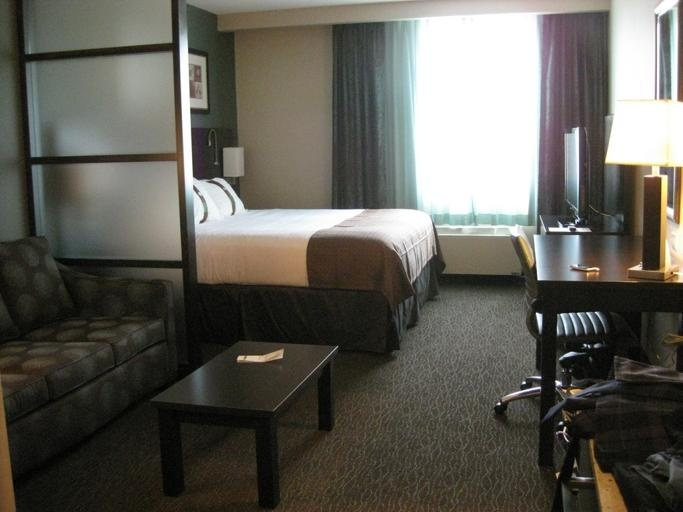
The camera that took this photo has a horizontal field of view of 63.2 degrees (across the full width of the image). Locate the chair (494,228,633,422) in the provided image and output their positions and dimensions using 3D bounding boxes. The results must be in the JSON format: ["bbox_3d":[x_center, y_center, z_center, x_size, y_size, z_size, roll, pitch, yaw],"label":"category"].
[{"bbox_3d":[1.267,0.306,3.324,0.884,1.285,0.899,-2,12,12],"label":"chair"}]

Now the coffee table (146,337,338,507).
[{"bbox_3d":[-0.467,0.648,2.664,0.570,0.478,0.921,1,10,11],"label":"coffee table"}]

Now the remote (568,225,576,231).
[{"bbox_3d":[1.825,-0.213,4.372,0.063,0.023,0.047,2,10,34],"label":"remote"}]

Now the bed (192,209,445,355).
[{"bbox_3d":[-0.251,0.164,4.211,1.212,0.503,1.302,0,10,11],"label":"bed"}]
